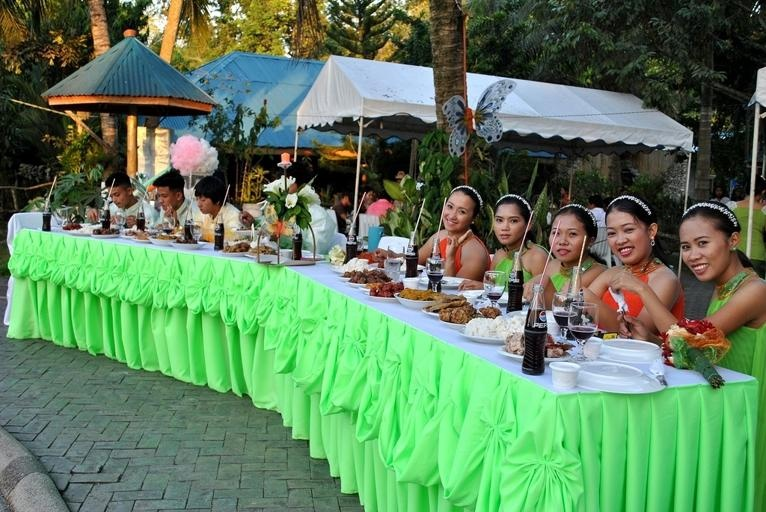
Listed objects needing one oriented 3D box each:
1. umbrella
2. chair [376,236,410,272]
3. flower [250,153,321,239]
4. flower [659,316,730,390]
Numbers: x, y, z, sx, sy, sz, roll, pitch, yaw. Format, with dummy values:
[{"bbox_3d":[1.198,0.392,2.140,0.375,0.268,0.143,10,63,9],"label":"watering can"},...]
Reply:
[{"bbox_3d":[-3.751,-2.220,10.026,1.868,2.194,1.945,7,13,24],"label":"umbrella"},{"bbox_3d":[0.094,-0.025,6.695,0.286,0.361,0.298,1,3,-8],"label":"chair"},{"bbox_3d":[-0.869,-0.497,5.780,0.427,0.726,0.455,-4,9,-43],"label":"flower"},{"bbox_3d":[1.631,0.531,3.485,0.300,0.315,0.444,11,26,26],"label":"flower"}]
